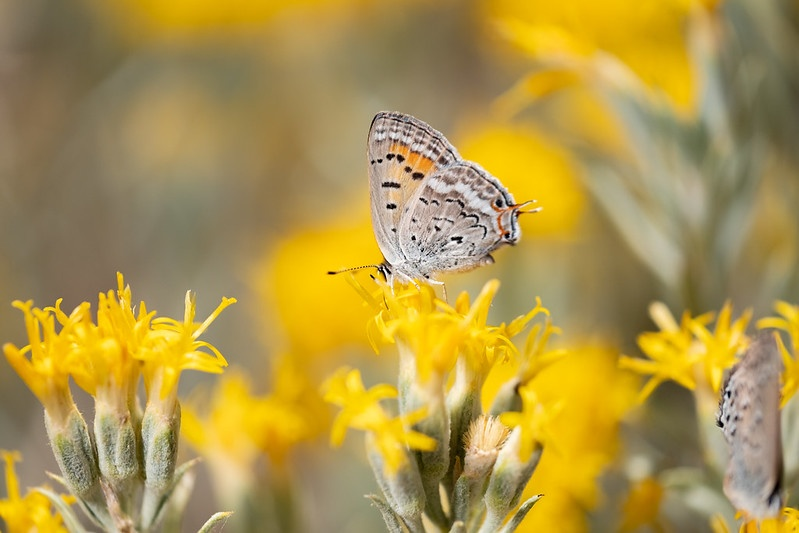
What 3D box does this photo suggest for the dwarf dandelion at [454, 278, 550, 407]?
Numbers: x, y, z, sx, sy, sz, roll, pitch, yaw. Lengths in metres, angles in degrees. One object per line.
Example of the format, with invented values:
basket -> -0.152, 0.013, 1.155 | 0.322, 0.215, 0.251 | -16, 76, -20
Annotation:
dwarf dandelion -> 0.169, 0.210, 2.249 | 0.228, 0.242, 0.278 | 9, -12, 0

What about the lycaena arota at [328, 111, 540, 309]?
lycaena arota -> 0.086, -0.134, 2.403 | 0.448, 0.348, 0.437 | -1, 0, -2

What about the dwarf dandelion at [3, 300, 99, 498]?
dwarf dandelion -> -0.829, 0.331, 2.316 | 0.154, 0.530, 0.155 | -14, -18, -25
